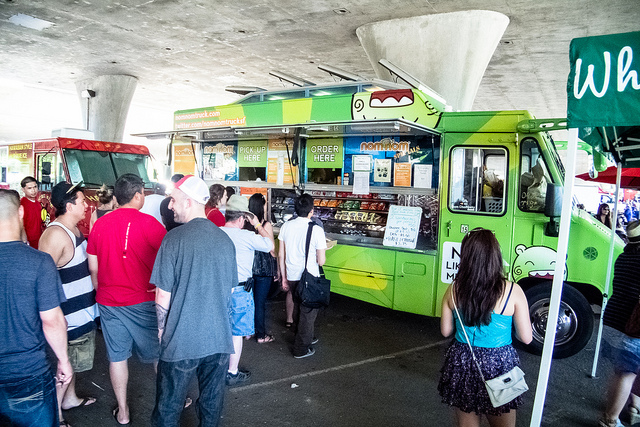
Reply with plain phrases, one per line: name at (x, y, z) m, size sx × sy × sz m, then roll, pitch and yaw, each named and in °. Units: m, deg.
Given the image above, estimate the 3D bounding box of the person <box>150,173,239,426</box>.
person at (-1.228, 0.857, 4.126) m, size 0.815 × 2.412 × 0.569 m, roll -2°, pitch 12°, yaw -17°

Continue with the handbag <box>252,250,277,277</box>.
handbag at (-0.866, 0.779, 6.502) m, size 0.417 × 0.438 × 0.258 m, roll -3°, pitch 12°, yaw -20°

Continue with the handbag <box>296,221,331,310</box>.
handbag at (-0.068, 0.781, 6.194) m, size 0.448 × 1.300 × 0.392 m, roll 6°, pitch 13°, yaw 20°
